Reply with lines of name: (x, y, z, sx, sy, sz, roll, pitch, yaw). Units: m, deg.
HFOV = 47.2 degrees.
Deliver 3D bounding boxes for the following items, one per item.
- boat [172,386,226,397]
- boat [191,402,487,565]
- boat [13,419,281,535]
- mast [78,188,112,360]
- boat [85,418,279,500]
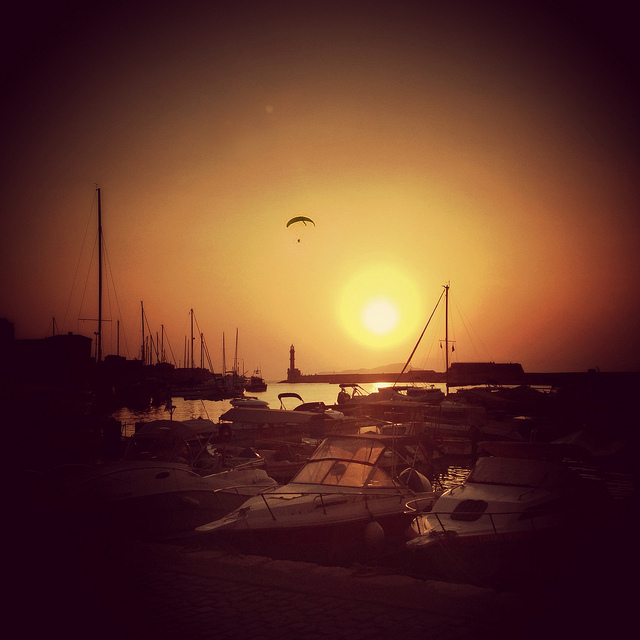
boat: (-12.412, 7.278, 74.456, 5.354, 1.217, 1.163, 0, 3, -18)
boat: (0.287, 3.055, 14.105, 2.287, 2.861, 6.059, -3, -3, 43)
boat: (-3.047, 2.726, 13.064, 4.246, 1.899, 2.446, -9, -3, -1)
mast: (-8.872, -0.701, 28.934, 0.372, 8.564, 1.043, 0, 0, 41)
boat: (-2.563, 2.855, 14.358, 3.438, 1.435, 1.738, 8, -13, -26)
